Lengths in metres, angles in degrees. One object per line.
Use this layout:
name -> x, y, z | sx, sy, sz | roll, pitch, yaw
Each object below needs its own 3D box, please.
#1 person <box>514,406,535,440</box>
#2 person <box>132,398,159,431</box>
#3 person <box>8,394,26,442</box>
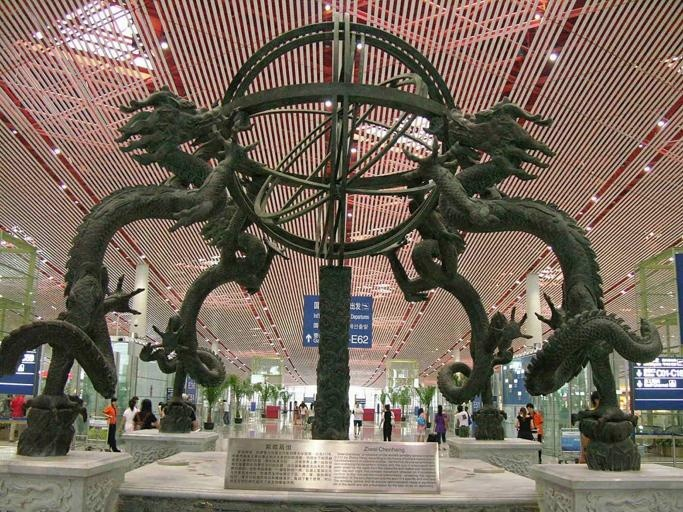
person -> 5.014, 4.538, 13.248 | 0.423, 0.836, 1.553 | -6, -21, 19
person -> -4.716, 3.817, 11.789 | 0.532, 0.709, 1.664 | 10, -22, -21
person -> -8.092, 4.012, 12.045 | 0.369, 1.054, 1.666 | 15, -24, -30
